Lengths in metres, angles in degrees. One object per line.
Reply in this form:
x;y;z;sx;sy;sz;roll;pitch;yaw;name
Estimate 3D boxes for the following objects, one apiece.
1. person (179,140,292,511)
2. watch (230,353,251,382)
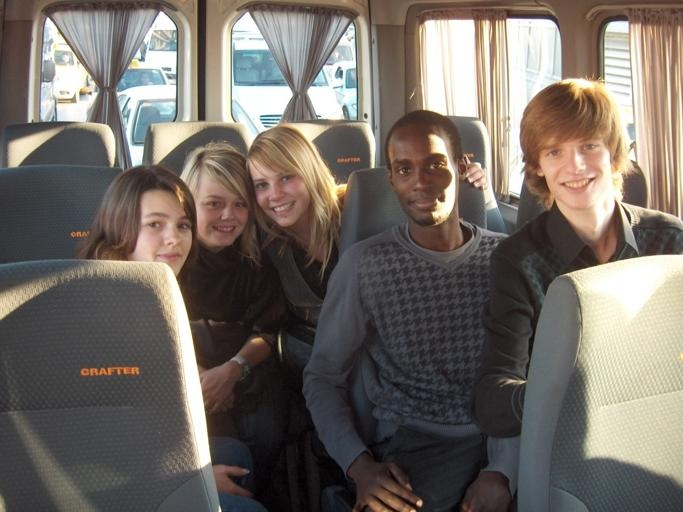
-0.438;0.310;2.432;0.437;1.328;0.987;-2;15;-11;person
-0.378;0.422;2.402;0.059;0.104;0.085;-23;13;-33;watch
